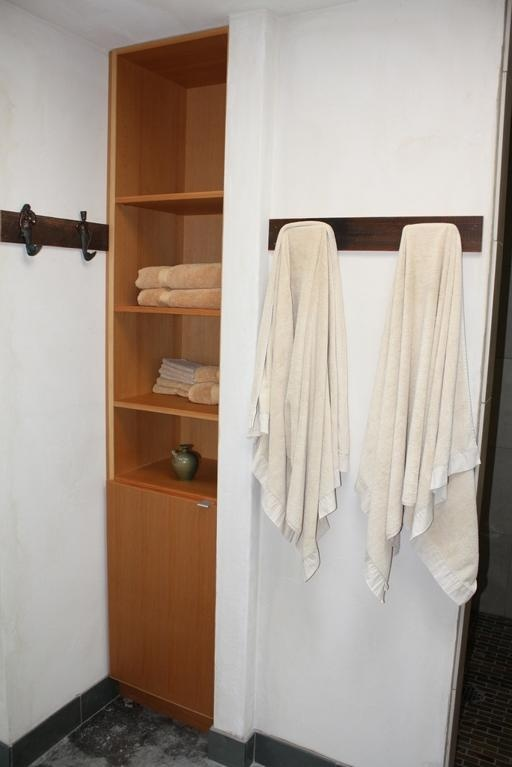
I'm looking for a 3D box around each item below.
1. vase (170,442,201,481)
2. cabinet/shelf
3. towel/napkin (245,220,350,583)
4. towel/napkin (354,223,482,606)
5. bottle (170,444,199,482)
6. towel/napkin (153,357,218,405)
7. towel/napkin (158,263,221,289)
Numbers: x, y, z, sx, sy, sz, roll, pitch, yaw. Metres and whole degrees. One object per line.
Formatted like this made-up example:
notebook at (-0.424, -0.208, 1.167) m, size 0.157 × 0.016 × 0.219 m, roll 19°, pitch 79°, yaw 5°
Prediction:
vase at (-0.223, 0.246, 2.045) m, size 0.092 × 0.125 × 0.104 m, roll 2°, pitch 6°, yaw 25°
cabinet/shelf at (-0.200, 0.030, 2.052) m, size 0.505 × 2.044 × 0.444 m, roll 8°, pitch 12°, yaw 29°
towel/napkin at (0.117, 0.033, 1.578) m, size 0.270 × 0.852 × 0.142 m, roll 11°, pitch 13°, yaw 39°
towel/napkin at (0.381, 0.075, 1.414) m, size 0.290 × 0.840 × 0.197 m, roll 8°, pitch 12°, yaw 27°
bottle at (-0.222, 0.249, 2.045) m, size 0.091 × 0.123 × 0.104 m, roll 2°, pitch 6°, yaw 19°
towel/napkin at (-0.214, -0.027, 2.040) m, size 0.173 × 0.076 × 0.138 m, roll 13°, pitch 11°, yaw 41°
towel/napkin at (-0.205, -0.319, 1.902) m, size 0.243 × 0.086 × 0.054 m, roll 14°, pitch 15°, yaw 42°
